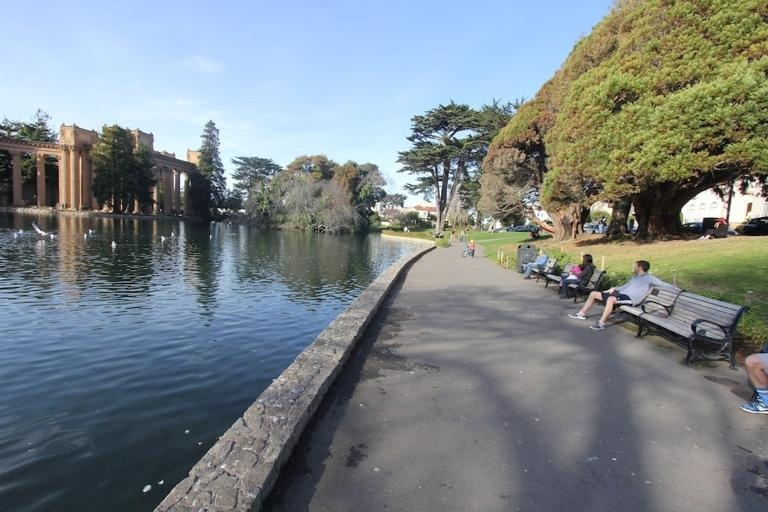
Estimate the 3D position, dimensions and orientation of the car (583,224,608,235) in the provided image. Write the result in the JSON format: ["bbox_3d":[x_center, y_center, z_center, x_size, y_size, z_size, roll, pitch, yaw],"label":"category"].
[{"bbox_3d":[20.149,-2.481,46.187,2.074,1.023,3.610,5,13,33],"label":"car"}]

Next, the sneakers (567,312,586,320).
[{"bbox_3d":[5.147,1.628,12.991,0.397,0.149,0.189,6,6,43],"label":"sneakers"}]

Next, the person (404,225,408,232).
[{"bbox_3d":[3.391,-4.028,74.756,0.333,1.044,1.224,7,11,-4],"label":"person"}]

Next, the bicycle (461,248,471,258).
[{"bbox_3d":[5.549,-0.204,32.425,0.652,0.582,1.009,2,-7,1],"label":"bicycle"}]

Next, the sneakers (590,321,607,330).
[{"bbox_3d":[5.397,1.767,12.125,0.456,0.190,0.170,2,-3,-30],"label":"sneakers"}]

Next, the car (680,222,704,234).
[{"bbox_3d":[19.232,-1.681,30.223,1.133,0.906,1.965,5,14,30],"label":"car"}]
